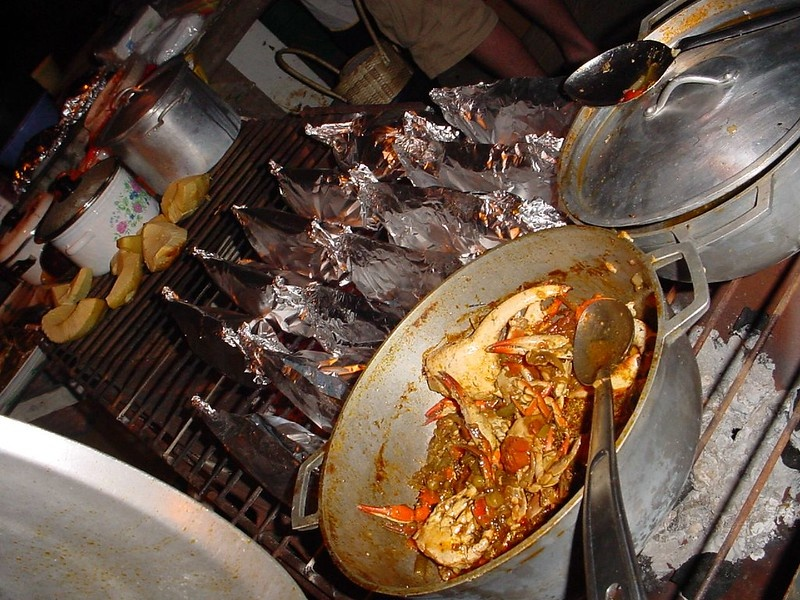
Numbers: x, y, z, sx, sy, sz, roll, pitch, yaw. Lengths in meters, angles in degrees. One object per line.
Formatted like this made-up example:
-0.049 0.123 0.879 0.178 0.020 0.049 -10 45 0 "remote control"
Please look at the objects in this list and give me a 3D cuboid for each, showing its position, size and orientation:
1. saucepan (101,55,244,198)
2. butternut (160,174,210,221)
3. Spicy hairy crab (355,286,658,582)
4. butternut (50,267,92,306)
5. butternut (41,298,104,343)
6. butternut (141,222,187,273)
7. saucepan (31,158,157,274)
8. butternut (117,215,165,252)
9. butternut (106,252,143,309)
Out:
-0.946 -0.722 2.994 0.517 0.568 0.490 -35 -51 25 "saucepan"
-0.884 -0.441 2.776 0.160 0.212 0.075 40 19 -34 "butternut"
0.307 0.336 1.768 0.164 0.805 0.577 36 -19 -31 "Spicy hairy crab"
-1.362 -0.093 2.790 0.079 0.161 0.185 23 6 -6 "butternut"
-1.329 0.087 2.702 0.067 0.214 0.186 47 18 -40 "butternut"
-0.948 -0.210 2.687 0.136 0.199 0.185 -2 7 -42 "butternut"
-1.187 -0.291 2.905 0.437 0.509 0.345 -30 -57 34 "saucepan"
-1.072 -0.252 2.843 0.075 0.193 0.140 45 -6 -35 "butternut"
-1.125 -0.079 2.747 0.135 0.237 0.182 0 5 -23 "butternut"
